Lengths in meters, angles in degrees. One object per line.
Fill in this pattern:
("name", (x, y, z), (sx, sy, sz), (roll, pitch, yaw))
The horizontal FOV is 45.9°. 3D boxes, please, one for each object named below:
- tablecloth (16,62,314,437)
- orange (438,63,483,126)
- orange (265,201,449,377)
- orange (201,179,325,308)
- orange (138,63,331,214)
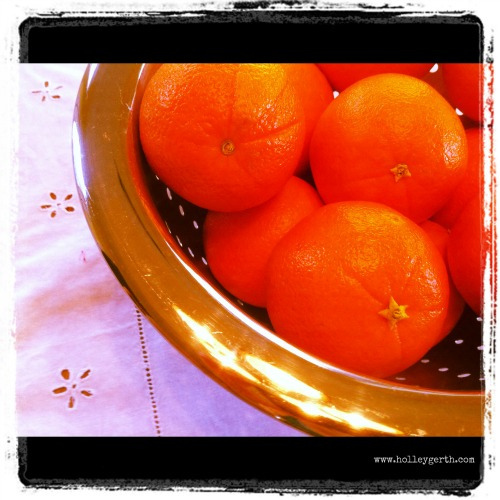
("tablecloth", (-0.202, 0.018, 0.764), (0.352, 0.421, 0.087), (-2, -16, -10))
("orange", (0.205, -0.154, 0.573), (0.041, 0.056, 0.047), (10, 43, 13))
("orange", (0.097, 0.049, 0.553), (0.160, 0.181, 0.168), (10, -1, 6))
("orange", (0.010, -0.006, 0.611), (0.097, 0.117, 0.107), (3, -14, 35))
("orange", (-0.017, -0.090, 0.569), (0.128, 0.148, 0.132), (-6, 25, 44))
